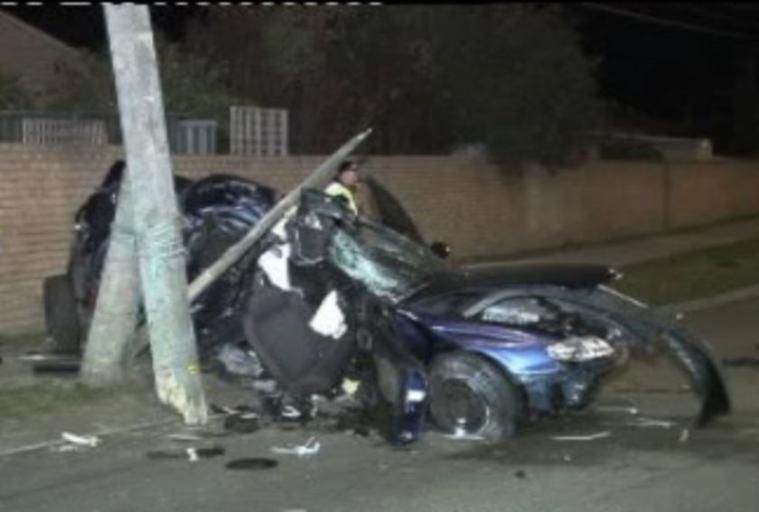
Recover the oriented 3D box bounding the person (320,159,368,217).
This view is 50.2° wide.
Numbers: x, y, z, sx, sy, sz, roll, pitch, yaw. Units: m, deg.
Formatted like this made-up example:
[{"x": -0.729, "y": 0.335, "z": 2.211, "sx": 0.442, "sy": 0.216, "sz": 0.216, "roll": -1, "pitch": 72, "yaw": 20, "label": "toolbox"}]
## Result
[{"x": -0.470, "y": -0.733, "z": 9.512, "sx": 0.464, "sy": 0.740, "sz": 0.855, "roll": 1, "pitch": -10, "yaw": -3, "label": "person"}]
